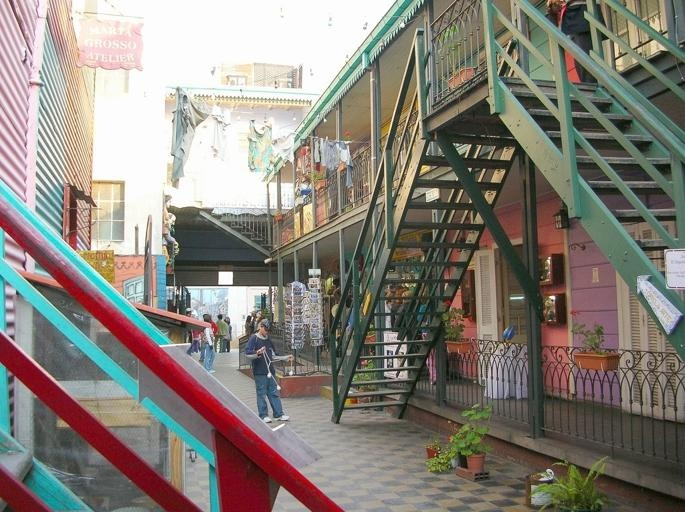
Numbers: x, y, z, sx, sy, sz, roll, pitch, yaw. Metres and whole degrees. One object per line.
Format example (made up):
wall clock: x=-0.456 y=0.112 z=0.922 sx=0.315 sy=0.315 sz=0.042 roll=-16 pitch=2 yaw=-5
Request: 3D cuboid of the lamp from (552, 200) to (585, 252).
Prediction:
lamp: x=3.458 y=-0.481 z=10.714 sx=0.374 sy=0.852 sz=0.690 roll=1 pitch=-5 yaw=-8

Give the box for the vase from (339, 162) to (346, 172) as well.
vase: x=-0.009 y=-2.092 z=16.099 sx=0.168 sy=0.285 sz=0.146 roll=13 pitch=19 yaw=42

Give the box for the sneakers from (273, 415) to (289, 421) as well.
sneakers: x=-0.987 y=2.660 z=11.383 sx=0.257 sy=0.092 sz=0.255 roll=1 pitch=-6 yaw=-12

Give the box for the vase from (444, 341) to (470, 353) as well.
vase: x=1.940 y=1.479 z=11.357 sx=0.216 sy=0.186 sz=0.559 roll=3 pitch=-7 yaw=-31

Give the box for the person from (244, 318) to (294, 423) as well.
person: x=-1.251 y=1.884 z=11.544 sx=0.702 sy=1.684 sz=1.200 roll=0 pitch=-5 yaw=-5

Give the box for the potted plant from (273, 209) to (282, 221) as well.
potted plant: x=-2.063 y=-1.318 z=22.429 sx=0.222 sy=0.395 sz=0.775 roll=1 pitch=-6 yaw=-8

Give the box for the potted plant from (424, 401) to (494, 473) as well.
potted plant: x=1.468 y=2.233 z=8.722 sx=0.783 sy=0.821 sz=1.237 roll=-1 pitch=-6 yaw=11

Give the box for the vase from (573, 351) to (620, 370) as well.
vase: x=3.181 y=1.303 z=8.614 sx=0.499 sy=0.235 sz=0.415 roll=-2 pitch=-6 yaw=17

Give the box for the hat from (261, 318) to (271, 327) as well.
hat: x=-1.263 y=1.090 z=11.372 sx=0.121 sy=0.138 sz=0.105 roll=2 pitch=-6 yaw=-6

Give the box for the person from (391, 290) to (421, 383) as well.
person: x=1.055 y=1.351 z=11.213 sx=0.485 sy=1.699 sz=1.596 roll=0 pitch=-1 yaw=-2
